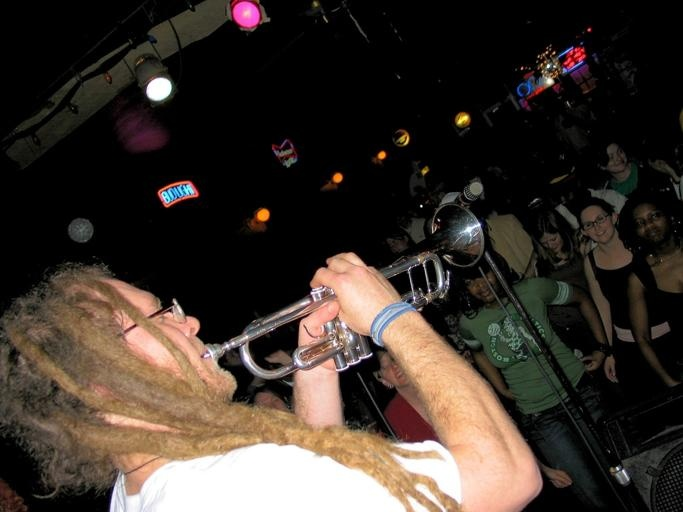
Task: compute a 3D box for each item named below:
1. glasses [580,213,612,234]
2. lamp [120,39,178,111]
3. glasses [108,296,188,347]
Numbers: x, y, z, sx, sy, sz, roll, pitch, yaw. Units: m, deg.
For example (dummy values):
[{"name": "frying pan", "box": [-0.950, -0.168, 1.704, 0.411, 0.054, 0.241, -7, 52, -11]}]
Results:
[{"name": "glasses", "box": [2.946, -0.386, 6.339, 0.221, 0.067, 0.220, -32, -31, 30]}, {"name": "lamp", "box": [-2.225, -2.106, 6.426, 0.567, 0.762, 0.545, -26, 37, 9]}, {"name": "glasses", "box": [-1.218, 0.425, 3.614, 0.305, 0.174, 0.156, -29, 44, -27]}]
